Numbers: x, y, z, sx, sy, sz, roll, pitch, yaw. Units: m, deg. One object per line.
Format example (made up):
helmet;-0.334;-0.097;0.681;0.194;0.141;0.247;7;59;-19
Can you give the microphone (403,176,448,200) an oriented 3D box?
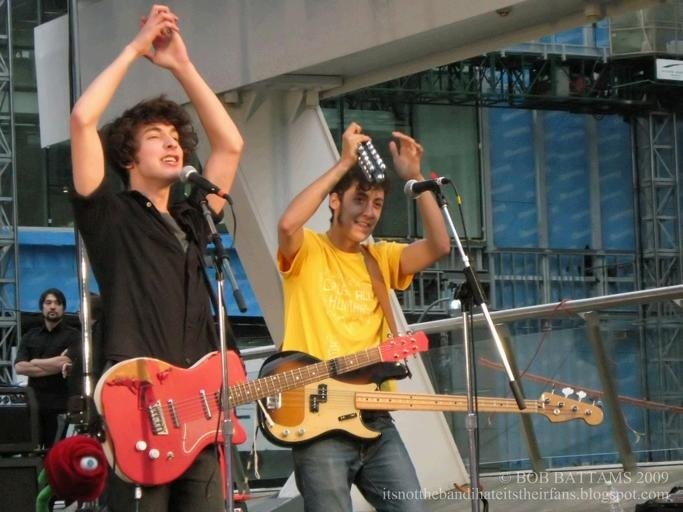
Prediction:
microphone;0.621;-0.504;9.760;0.129;0.146;0.388;-18;-4;-32

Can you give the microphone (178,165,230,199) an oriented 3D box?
microphone;-0.906;-0.504;9.304;0.482;0.156;0.151;22;36;26

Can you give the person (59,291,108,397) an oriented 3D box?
person;-2.057;0.722;10.552;0.254;1.057;0.545;2;-6;5
